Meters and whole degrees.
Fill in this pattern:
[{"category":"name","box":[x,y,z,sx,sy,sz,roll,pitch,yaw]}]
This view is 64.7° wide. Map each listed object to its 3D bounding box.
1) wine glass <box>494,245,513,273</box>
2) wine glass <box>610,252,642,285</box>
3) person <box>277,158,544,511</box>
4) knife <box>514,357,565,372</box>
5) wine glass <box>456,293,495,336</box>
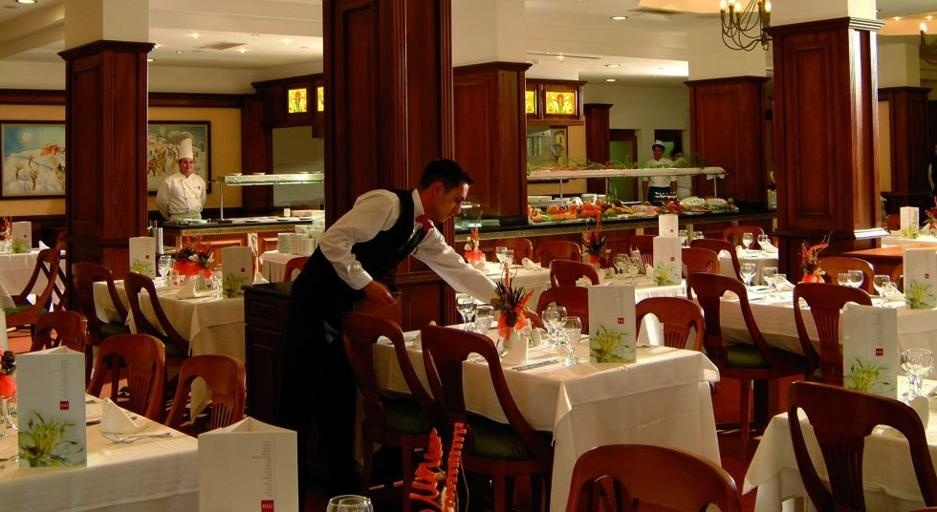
[{"category":"wine glass","box":[0.328,0.008,7.554,0.205,0.372,0.219,0,-2,-3]},{"category":"wine glass","box":[1.493,0.124,6.889,0.267,0.282,0.287,0,-2,-9]},{"category":"person","box":[-0.631,0.508,4.989,1.276,2.253,0.479,-3,3,-15]},{"category":"knife","box":[0.430,0.675,4.552,0.264,0.048,0.013,-8,-31,-17]},{"category":"wine glass","box":[0.055,0.392,4.951,0.265,0.263,0.248,5,-3,-37]}]
